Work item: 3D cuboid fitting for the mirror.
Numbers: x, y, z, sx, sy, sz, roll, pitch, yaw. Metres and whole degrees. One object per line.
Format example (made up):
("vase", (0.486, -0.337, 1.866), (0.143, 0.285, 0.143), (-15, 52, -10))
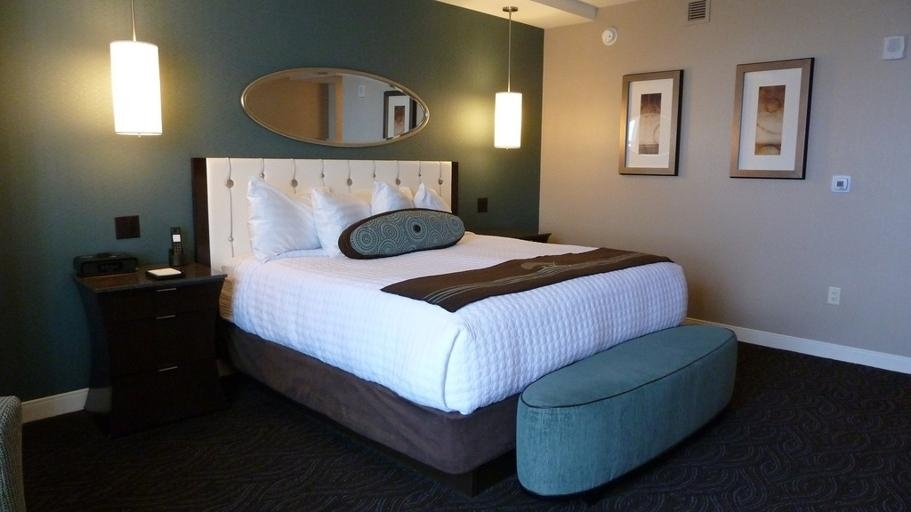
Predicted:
("mirror", (-1.109, -1.450, 6.024), (1.876, 0.751, 0.035), (-2, 12, -27))

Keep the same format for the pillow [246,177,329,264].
("pillow", (-1.528, -0.353, 5.600), (0.362, 0.692, 0.788), (7, 5, 35))

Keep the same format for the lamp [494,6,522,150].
("lamp", (0.600, -1.978, 6.963), (0.323, 1.535, 0.505), (0, 14, 5))

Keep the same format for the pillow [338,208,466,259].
("pillow", (-0.426, -0.208, 5.619), (1.217, 0.409, 0.332), (-9, 9, -33))

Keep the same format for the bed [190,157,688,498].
("bed", (-0.715, 0.159, 5.037), (2.668, 1.615, 2.724), (-6, 12, -44))

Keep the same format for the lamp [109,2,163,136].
("lamp", (-2.557, -1.339, 4.917), (0.359, 0.710, 0.184), (-6, 15, -22))

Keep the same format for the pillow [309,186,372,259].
("pillow", (-1.028, -0.275, 5.429), (0.224, 0.484, 0.651), (-25, -15, 37))
